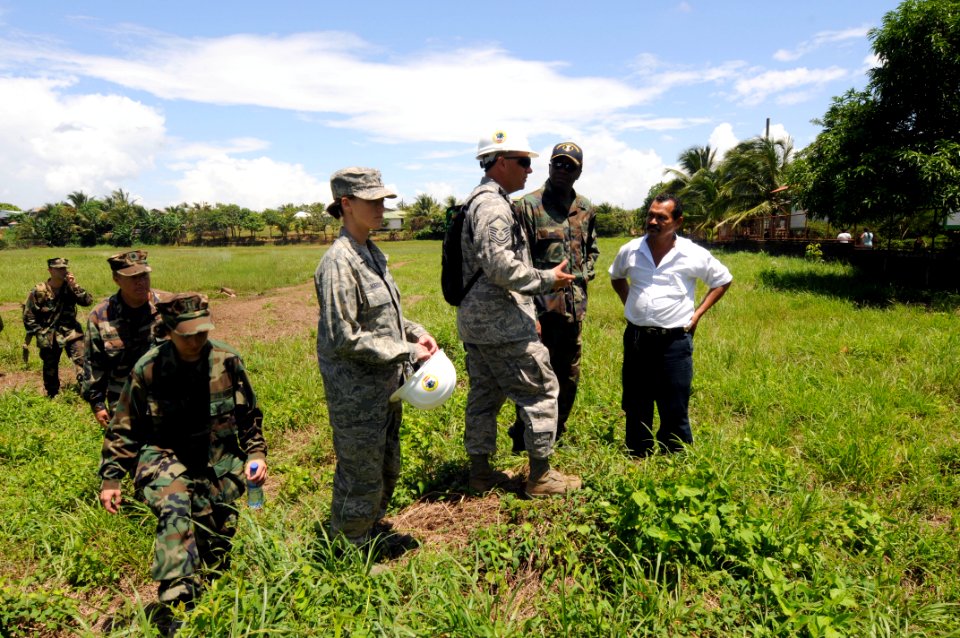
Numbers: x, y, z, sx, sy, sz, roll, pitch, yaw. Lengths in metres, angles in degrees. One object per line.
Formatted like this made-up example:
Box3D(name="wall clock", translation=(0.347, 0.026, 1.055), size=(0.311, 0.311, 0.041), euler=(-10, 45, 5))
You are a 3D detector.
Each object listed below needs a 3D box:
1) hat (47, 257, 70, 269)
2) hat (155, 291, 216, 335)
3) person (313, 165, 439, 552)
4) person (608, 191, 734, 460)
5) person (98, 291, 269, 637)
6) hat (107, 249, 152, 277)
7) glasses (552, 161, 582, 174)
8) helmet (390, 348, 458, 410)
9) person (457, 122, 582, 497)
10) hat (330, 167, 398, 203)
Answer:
Box3D(name="hat", translation=(-6.773, -0.893, 10.196), size=(0.387, 0.131, 0.289), euler=(13, 7, 30))
Box3D(name="hat", translation=(-2.453, -0.043, 5.349), size=(0.327, 0.201, 0.479), euler=(-12, 22, -41))
Box3D(name="person", translation=(-0.939, 0.374, 5.446), size=(0.940, 3.219, 1.002), euler=(-1, 13, 2))
Box3D(name="person", translation=(1.881, 0.077, 6.641), size=(1.014, 2.650, 1.134), euler=(4, 14, 24))
Box3D(name="person", translation=(-2.439, 1.073, 5.362), size=(1.293, 2.506, 1.095), euler=(-12, 16, -38))
Box3D(name="hat", translation=(-3.837, -0.599, 6.986), size=(0.362, 0.265, 0.392), euler=(-8, 14, -28))
Box3D(name="glasses", translation=(0.858, -1.502, 6.365), size=(0.223, 0.086, 0.245), euler=(5, 2, 11))
Box3D(name="helmet", translation=(-0.406, 0.551, 5.540), size=(0.337, 0.515, 0.497), euler=(38, -4, 19))
Box3D(name="person", translation=(0.314, -0.051, 5.973), size=(1.041, 3.426, 0.674), euler=(3, 14, 19))
Box3D(name="hat", translation=(-0.983, -1.125, 5.388), size=(0.393, 0.268, 0.369), euler=(-10, 15, -34))
